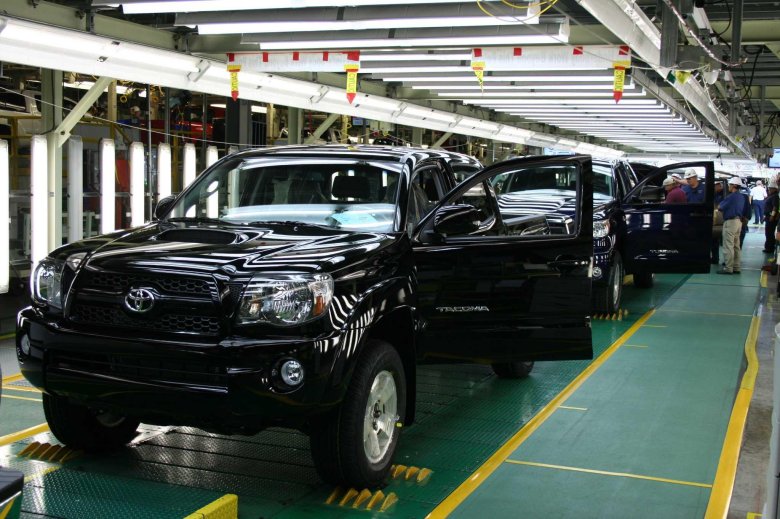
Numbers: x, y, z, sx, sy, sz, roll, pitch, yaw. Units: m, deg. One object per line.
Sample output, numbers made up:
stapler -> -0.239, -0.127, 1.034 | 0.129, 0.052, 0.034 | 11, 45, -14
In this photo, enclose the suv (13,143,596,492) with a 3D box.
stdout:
suv -> -0.661, 0.283, 4.619 | 3.596, 1.408, 4.009 | 0, 0, 27
